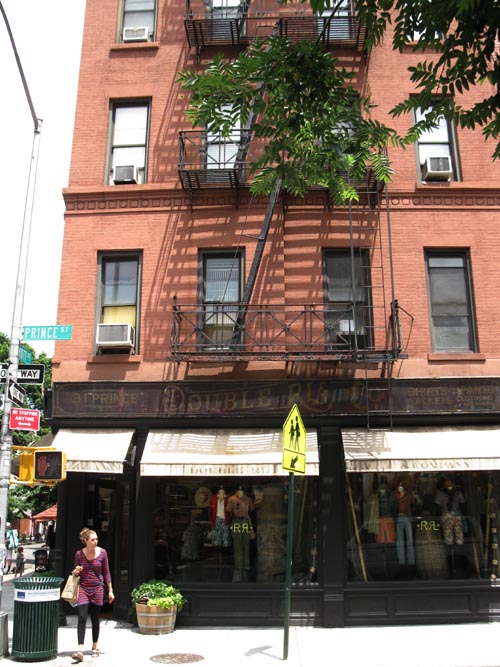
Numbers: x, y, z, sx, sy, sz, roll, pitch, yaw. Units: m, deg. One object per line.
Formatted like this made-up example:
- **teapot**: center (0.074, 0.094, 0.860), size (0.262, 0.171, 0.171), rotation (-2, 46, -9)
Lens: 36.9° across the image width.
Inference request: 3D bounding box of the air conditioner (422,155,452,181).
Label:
- **air conditioner**: center (3.583, -3.150, 14.371), size (0.466, 0.474, 0.354), rotation (2, -4, -1)

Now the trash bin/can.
- **trash bin/can**: center (-2.850, 3.799, 9.967), size (0.598, 1.029, 0.334), rotation (5, -14, -16)

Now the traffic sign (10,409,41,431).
- **traffic sign**: center (-3.213, 1.238, 10.815), size (0.334, 0.356, 0.686), rotation (0, -14, 5)

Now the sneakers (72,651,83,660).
- **sneakers**: center (-2.272, 4.258, 9.886), size (0.076, 0.083, 0.201), rotation (11, -37, -6)

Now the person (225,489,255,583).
- **person**: center (-0.179, 3.492, 13.039), size (0.462, 1.537, 0.164), rotation (1, -14, 0)

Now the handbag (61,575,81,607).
- **handbag**: center (-2.445, 3.507, 10.250), size (0.213, 0.430, 0.349), rotation (4, -14, -12)

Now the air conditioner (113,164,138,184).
- **air conditioner**: center (-2.429, -3.071, 14.554), size (0.628, 0.414, 0.336), rotation (1, 8, 5)

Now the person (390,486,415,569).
- **person**: center (2.687, 3.344, 13.148), size (0.333, 1.380, 0.115), rotation (0, -14, 4)

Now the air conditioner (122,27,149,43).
- **air conditioner**: center (-2.331, -6.120, 15.307), size (0.582, 0.295, 0.276), rotation (1, -4, 5)

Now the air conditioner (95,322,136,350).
- **air conditioner**: center (-2.459, 0.072, 13.624), size (0.645, 0.442, 0.525), rotation (2, -14, -4)

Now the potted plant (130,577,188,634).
- **potted plant**: center (-1.448, 4.439, 12.149), size (0.820, 0.598, 0.755), rotation (11, -26, -22)
